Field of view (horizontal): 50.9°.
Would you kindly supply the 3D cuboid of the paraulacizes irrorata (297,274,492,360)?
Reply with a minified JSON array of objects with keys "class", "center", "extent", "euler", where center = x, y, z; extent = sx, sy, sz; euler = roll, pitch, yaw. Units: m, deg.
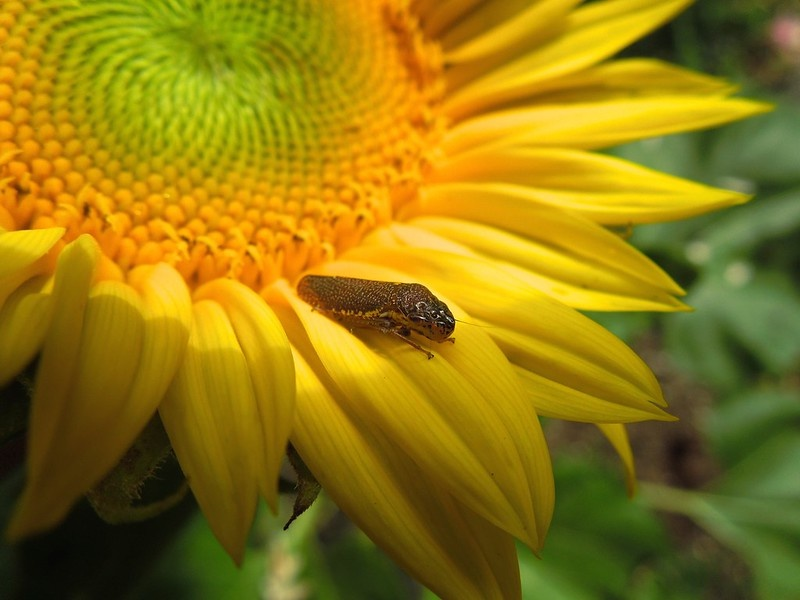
[{"class":"paraulacizes irrorata","center":[-0.018,-0.016,1.415],"extent":[0.264,0.123,0.095],"euler":[19,-57,7]}]
